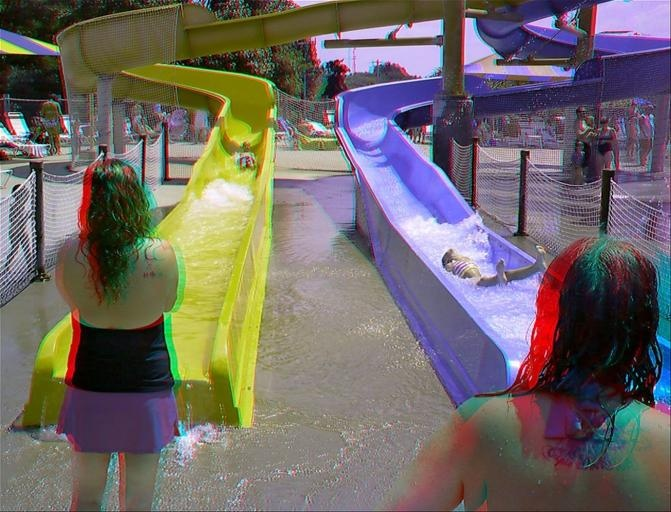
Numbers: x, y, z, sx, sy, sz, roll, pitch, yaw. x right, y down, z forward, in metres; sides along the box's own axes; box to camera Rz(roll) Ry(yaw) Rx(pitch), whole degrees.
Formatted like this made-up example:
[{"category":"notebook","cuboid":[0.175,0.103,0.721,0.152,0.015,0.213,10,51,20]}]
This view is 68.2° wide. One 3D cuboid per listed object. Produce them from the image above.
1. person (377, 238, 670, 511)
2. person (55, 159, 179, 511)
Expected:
[{"category":"person","cuboid":[0.653,0.427,1.924,0.827,1.331,0.438,15,-2,11]},{"category":"person","cuboid":[-0.886,0.333,1.998,0.537,1.392,0.327,-4,14,-20]}]
